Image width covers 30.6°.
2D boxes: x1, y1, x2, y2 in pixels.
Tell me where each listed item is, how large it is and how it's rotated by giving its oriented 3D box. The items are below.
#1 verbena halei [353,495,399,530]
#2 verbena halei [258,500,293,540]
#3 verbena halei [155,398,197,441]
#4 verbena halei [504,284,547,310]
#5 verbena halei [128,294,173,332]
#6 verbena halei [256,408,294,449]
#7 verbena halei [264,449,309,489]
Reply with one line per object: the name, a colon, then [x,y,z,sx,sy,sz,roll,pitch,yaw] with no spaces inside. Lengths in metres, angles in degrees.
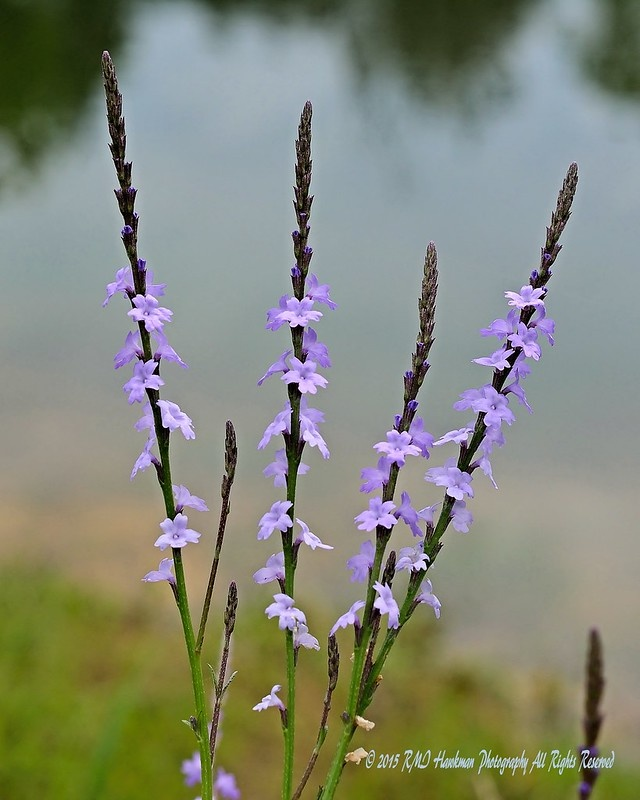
verbena halei: [0.070,0.145,1.419,0.049,0.054,0.106,5,7,3]
verbena halei: [-0.052,0.150,1.413,0.038,0.062,0.104,4,7,-1]
verbena halei: [-0.180,0.027,1.436,0.044,0.063,0.152,3,7,-8]
verbena halei: [0.248,-0.125,1.418,0.043,0.031,0.085,5,7,1]
verbena halei: [-0.203,-0.103,1.394,0.047,0.044,0.068,3,7,-10]
verbena halei: [-0.054,0.032,1.419,0.037,0.057,0.122,4,7,-2]
verbena halei: [-0.042,0.084,1.400,0.050,0.049,0.109,5,7,4]
